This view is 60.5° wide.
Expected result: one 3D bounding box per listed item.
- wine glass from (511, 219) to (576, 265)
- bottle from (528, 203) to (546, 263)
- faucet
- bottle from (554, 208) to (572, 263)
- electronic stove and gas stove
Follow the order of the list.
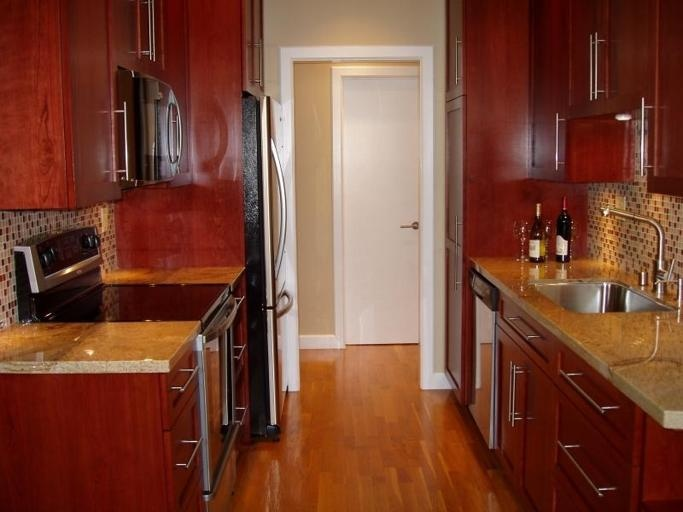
[{"bbox_3d":[1.220,-0.113,3.641,0.394,0.339,0.235,0,2,-2],"label":"wine glass"},{"bbox_3d":[1.171,-0.145,3.522,0.091,0.326,0.223,2,11,17],"label":"bottle"},{"bbox_3d":[1.436,-0.048,2.770,0.249,0.333,0.355,-8,13,-33],"label":"faucet"},{"bbox_3d":[1.297,-0.130,3.444,0.084,0.308,0.207,3,11,20],"label":"bottle"},{"bbox_3d":[-0.950,0.163,2.941,0.744,0.218,1.040,0,12,2],"label":"electronic stove and gas stove"}]
